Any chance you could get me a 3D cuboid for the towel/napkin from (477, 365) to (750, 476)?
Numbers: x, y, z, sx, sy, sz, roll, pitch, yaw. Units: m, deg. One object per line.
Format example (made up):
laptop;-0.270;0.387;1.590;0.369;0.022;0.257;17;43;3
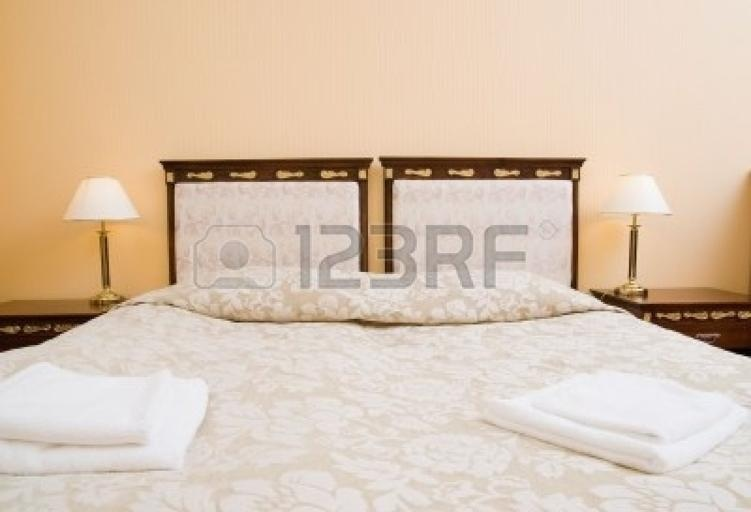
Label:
towel/napkin;0.804;0.528;2.095;0.425;0.080;0.436;3;6;38
